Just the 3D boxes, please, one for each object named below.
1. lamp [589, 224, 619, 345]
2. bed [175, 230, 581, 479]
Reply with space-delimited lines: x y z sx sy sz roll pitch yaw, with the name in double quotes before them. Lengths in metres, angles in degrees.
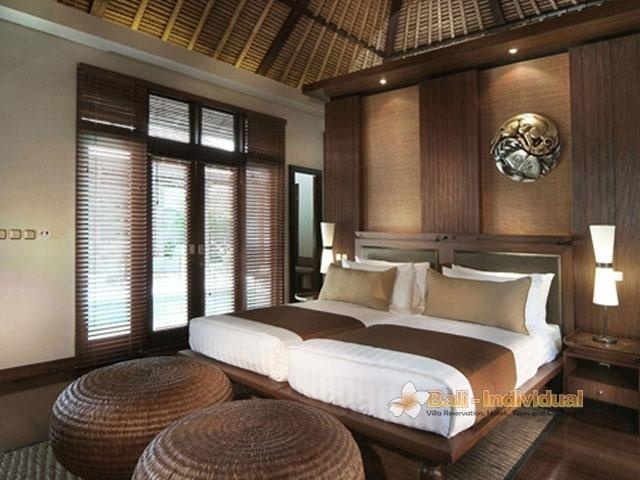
"lamp" 2.333 0.353 3.672 0.261 0.956 0.380 6 11 30
"bed" 0.874 0.810 3.544 2.189 1.075 2.053 -2 -3 42
